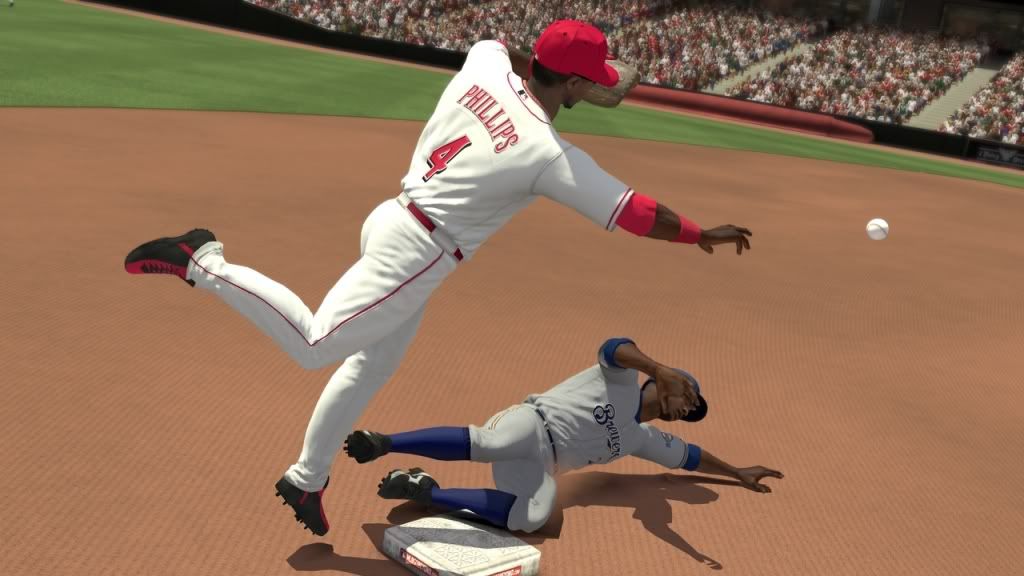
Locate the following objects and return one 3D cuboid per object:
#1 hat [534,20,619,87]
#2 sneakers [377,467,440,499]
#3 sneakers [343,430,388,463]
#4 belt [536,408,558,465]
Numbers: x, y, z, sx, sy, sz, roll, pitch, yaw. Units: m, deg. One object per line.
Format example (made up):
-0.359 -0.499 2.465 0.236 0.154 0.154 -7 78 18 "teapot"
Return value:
0.528 -1.780 5.730 0.735 0.363 0.443 4 39 -25 "hat"
-0.787 1.494 5.873 0.390 0.142 0.236 4 40 8 "sneakers"
-1.127 1.201 5.786 0.339 0.128 0.211 -1 65 -12 "sneakers"
0.266 1.185 5.972 0.098 0.330 0.273 -6 14 -34 "belt"
